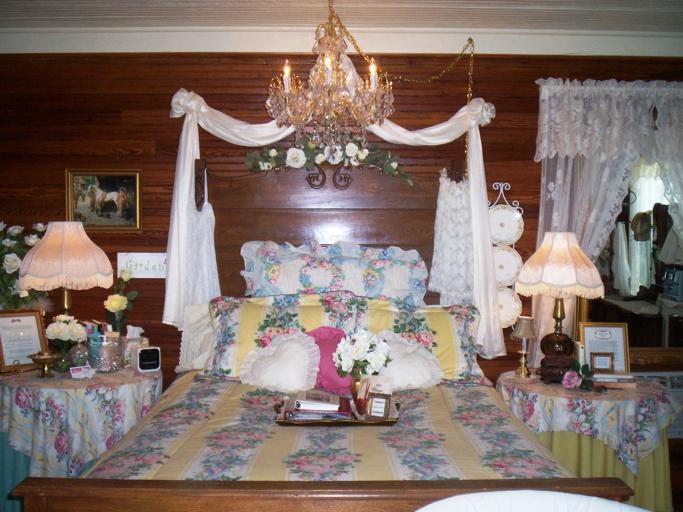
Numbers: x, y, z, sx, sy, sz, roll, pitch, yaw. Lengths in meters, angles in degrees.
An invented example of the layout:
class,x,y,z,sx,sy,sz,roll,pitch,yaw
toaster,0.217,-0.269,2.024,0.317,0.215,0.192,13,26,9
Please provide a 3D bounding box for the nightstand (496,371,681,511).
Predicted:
class,x,y,z,sx,sy,sz,roll,pitch,yaw
nightstand,1.676,1.284,3.838,0.961,0.654,0.923,-2,0,10

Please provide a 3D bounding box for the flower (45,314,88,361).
class,x,y,z,sx,sy,sz,roll,pitch,yaw
flower,-1.957,0.529,3.879,0.331,0.307,0.326,0,1,33

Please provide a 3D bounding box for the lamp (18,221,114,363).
class,x,y,z,sx,sy,sz,roll,pitch,yaw
lamp,-1.878,0.093,3.812,0.673,0.661,0.604,-1,-1,-5

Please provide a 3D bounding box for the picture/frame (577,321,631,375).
class,x,y,z,sx,sy,sz,roll,pitch,yaw
picture/frame,1.790,0.633,3.796,0.410,0.434,0.039,2,-18,2

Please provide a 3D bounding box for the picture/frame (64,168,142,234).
class,x,y,z,sx,sy,sz,roll,pitch,yaw
picture/frame,-1.916,-0.458,4.466,0.600,0.453,0.043,2,2,0

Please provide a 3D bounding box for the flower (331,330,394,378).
class,x,y,z,sx,sy,sz,roll,pitch,yaw
flower,0.122,0.540,3.118,0.298,0.260,0.285,3,-3,-6

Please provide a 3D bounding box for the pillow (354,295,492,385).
class,x,y,z,sx,sy,sz,roll,pitch,yaw
pillow,0.614,0.559,3.696,0.894,0.523,0.231,4,-19,-17

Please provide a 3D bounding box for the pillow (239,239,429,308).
class,x,y,z,sx,sy,sz,roll,pitch,yaw
pillow,-0.033,0.255,4.666,1.289,0.497,0.221,0,-14,-3
